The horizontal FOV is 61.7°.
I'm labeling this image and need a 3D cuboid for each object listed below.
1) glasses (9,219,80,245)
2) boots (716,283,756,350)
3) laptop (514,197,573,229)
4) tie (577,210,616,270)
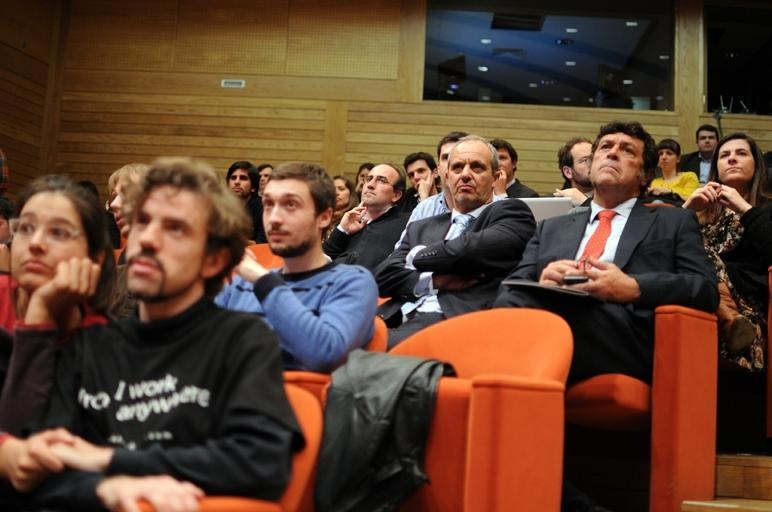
[{"bbox_3d":[-0.949,-0.063,1.784,0.198,0.051,0.063,4,3,15],"label":"glasses"},{"bbox_3d":[1.471,0.267,2.728,0.081,0.225,0.170,-29,-16,2],"label":"boots"},{"bbox_3d":[0.854,-0.247,3.391,0.250,0.167,0.174,-1,25,15],"label":"laptop"},{"bbox_3d":[0.889,-0.062,2.746,0.115,0.043,0.430,5,43,31],"label":"tie"}]
